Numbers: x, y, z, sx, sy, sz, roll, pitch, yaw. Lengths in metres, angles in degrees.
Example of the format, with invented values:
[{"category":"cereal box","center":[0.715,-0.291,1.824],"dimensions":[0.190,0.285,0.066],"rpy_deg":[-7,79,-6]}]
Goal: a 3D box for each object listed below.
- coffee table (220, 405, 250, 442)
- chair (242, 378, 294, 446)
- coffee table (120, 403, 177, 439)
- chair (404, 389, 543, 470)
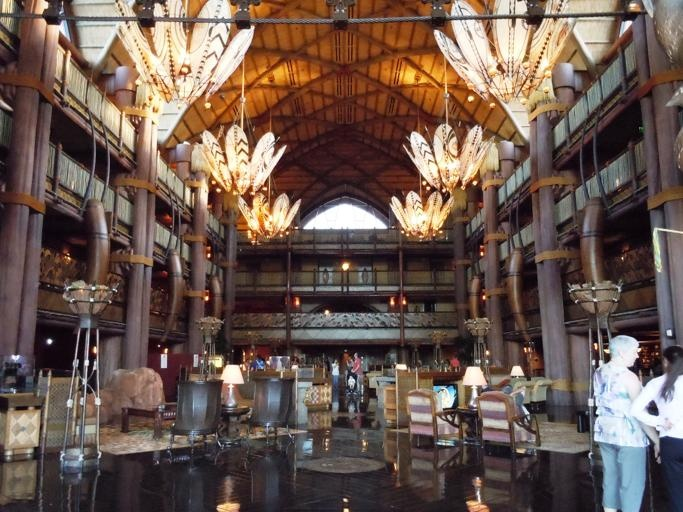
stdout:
[{"category":"coffee table","center":[-2.334,3.620,11.711],"dimensions":[0.690,0.671,0.712],"rpy_deg":[1,-4,-7]},{"category":"chair","center":[-1.634,3.307,11.453],"dimensions":[1.174,1.495,1.106],"rpy_deg":[9,-17,-27]},{"category":"coffee table","center":[-4.417,3.738,12.267],"dimensions":[1.126,0.465,0.861],"rpy_deg":[-3,-5,36]},{"category":"chair","center":[2.566,3.276,10.679],"dimensions":[2.574,1.380,2.442],"rpy_deg":[0,-1,22]}]
